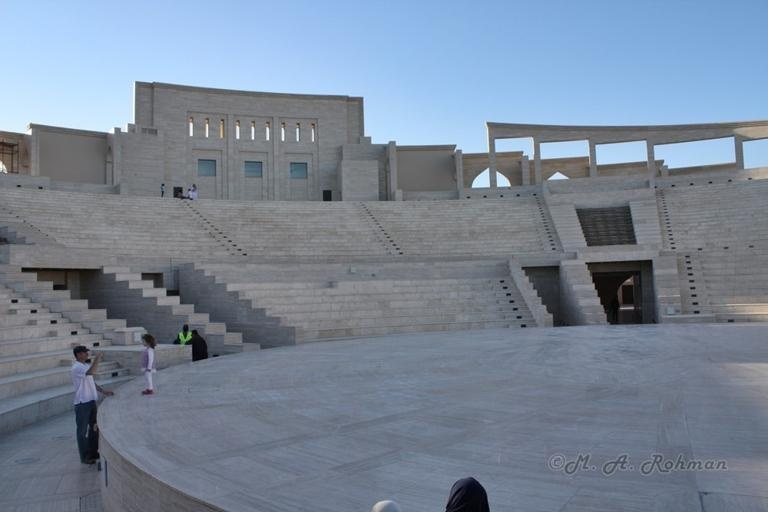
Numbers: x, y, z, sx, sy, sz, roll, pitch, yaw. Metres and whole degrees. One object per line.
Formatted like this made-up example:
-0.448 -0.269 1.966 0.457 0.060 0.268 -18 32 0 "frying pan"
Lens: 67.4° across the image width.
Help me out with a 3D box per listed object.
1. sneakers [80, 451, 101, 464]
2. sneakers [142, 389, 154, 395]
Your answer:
-4.535 3.052 8.870 0.280 0.259 0.149 -4 -2 -14 "sneakers"
-3.939 2.270 9.609 0.188 0.058 0.078 3 -7 0 "sneakers"
